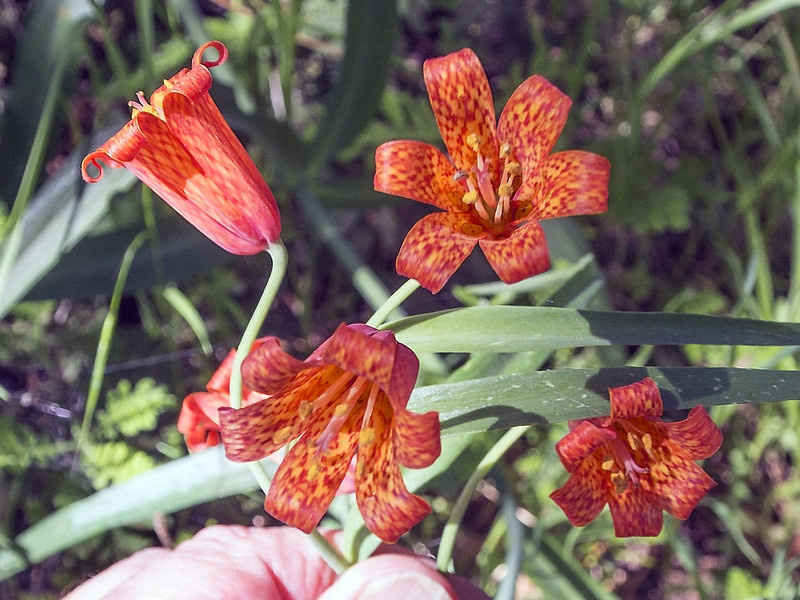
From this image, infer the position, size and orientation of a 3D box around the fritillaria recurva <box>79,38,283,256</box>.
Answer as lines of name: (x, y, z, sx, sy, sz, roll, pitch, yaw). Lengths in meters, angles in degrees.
fritillaria recurva: (-0.374, -0.204, 1.244, 0.264, 0.203, 0.304, -27, 69, -11)

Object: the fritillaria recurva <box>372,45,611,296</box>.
fritillaria recurva: (0.178, -0.146, 1.324, 0.158, 0.405, 0.390, 38, 73, 7)

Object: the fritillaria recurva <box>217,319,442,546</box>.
fritillaria recurva: (-0.094, 0.221, 1.245, 0.343, 0.359, 0.150, 33, 26, 11)
